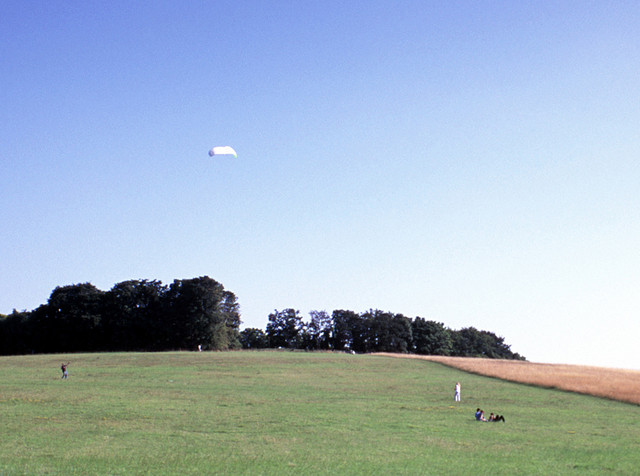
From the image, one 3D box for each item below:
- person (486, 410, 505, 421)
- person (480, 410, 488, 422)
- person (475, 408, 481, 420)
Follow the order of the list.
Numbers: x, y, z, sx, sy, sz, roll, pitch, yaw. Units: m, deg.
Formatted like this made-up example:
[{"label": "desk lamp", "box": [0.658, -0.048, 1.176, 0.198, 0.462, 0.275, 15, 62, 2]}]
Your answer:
[{"label": "person", "box": [14.228, 14.312, 51.456, 0.853, 0.388, 0.832, 22, -35, -37]}, {"label": "person", "box": [13.288, 14.435, 51.608, 0.652, 0.912, 0.605, 0, -8, -2]}, {"label": "person", "box": [12.800, 14.286, 51.498, 0.419, 0.716, 0.514, -3, -13, 10]}]
